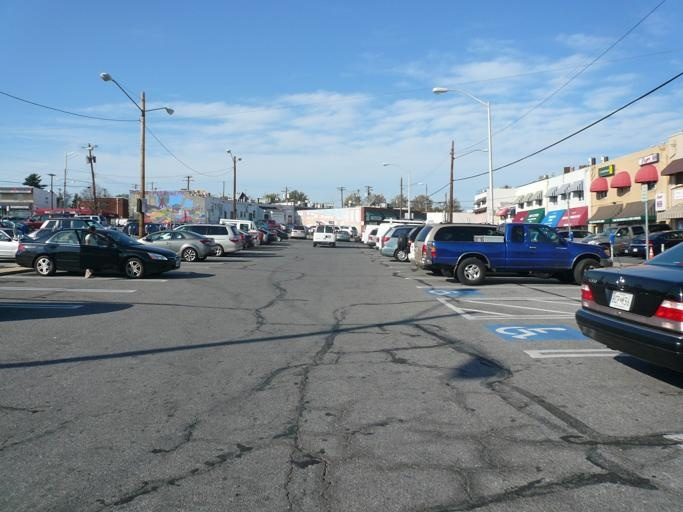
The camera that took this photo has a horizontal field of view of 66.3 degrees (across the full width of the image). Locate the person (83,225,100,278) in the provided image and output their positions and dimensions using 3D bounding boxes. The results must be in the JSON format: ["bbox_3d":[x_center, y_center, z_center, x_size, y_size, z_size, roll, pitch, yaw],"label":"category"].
[{"bbox_3d":[-8.030,-0.158,16.647,0.424,1.677,0.747,-3,8,-24],"label":"person"}]

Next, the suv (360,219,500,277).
[{"bbox_3d":[3.364,-0.384,17.058,2.976,1.070,1.388,-5,5,-16],"label":"suv"}]

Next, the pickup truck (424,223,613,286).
[{"bbox_3d":[5.672,-0.071,17.288,5.593,1.664,2.297,-1,0,-4],"label":"pickup truck"}]

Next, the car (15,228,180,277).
[{"bbox_3d":[-8.023,-0.066,17.190,4.891,1.239,1.898,-1,0,-6],"label":"car"}]
